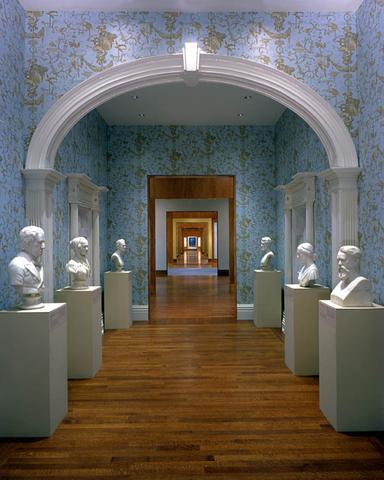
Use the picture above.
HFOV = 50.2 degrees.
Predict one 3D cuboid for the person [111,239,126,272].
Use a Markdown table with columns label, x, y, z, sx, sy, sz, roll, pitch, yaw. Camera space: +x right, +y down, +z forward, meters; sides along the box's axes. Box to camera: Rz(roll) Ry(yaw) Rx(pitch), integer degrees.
| label | x | y | z | sx | sy | sz | roll | pitch | yaw |
| --- | --- | --- | --- | --- | --- | --- | --- | --- | --- |
| person | -1.286 | 0.268 | 7.130 | 0.272 | 0.574 | 0.840 | -1 | 2 | -12 |

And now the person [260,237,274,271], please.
| label | x | y | z | sx | sy | sz | roll | pitch | yaw |
| --- | --- | --- | --- | --- | --- | --- | --- | --- | --- |
| person | 1.305 | 0.223 | 7.080 | 0.194 | 0.544 | 0.864 | 0 | 2 | 10 |
